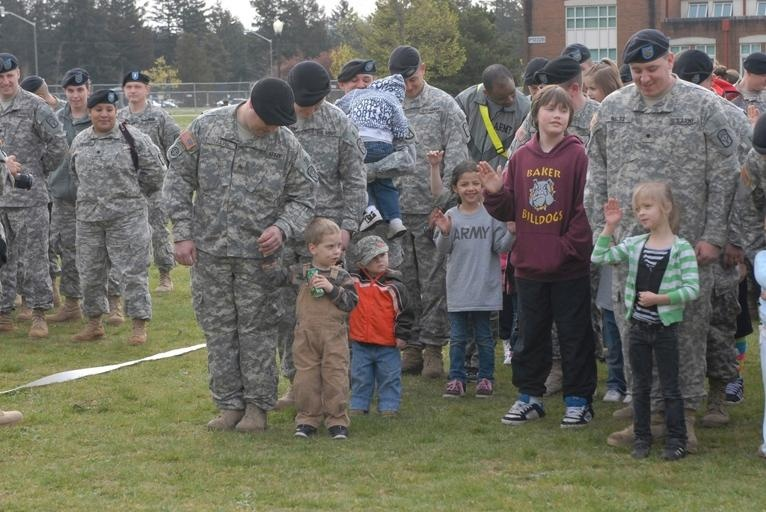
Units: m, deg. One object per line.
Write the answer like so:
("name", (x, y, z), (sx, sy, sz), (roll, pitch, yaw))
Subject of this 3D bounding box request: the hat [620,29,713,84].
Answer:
("hat", (2.423, -1.795, 10.982), (0.669, 0.321, 0.825), (-11, 20, -9))

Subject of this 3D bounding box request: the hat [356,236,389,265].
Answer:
("hat", (-0.109, -0.064, 11.367), (0.253, 0.145, 0.317), (-18, 2, -27))

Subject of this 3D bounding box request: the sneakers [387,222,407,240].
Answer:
("sneakers", (0.112, -0.252, 11.831), (0.120, 0.134, 0.221), (-17, -5, -22))

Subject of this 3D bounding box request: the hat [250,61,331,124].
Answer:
("hat", (-0.823, -1.446, 10.825), (0.824, 0.514, 0.364), (8, -31, 11))

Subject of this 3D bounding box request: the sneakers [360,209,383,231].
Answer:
("sneakers", (-0.138, -0.354, 11.558), (0.122, 0.126, 0.301), (-9, -18, -46))
